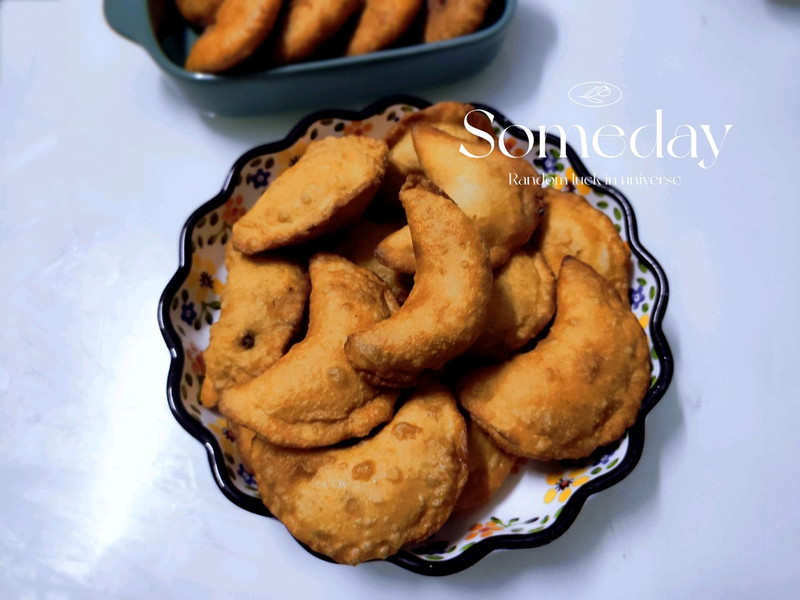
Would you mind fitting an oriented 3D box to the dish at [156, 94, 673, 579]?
[{"bbox_3d":[0.029,0.042,1.452,0.769,0.265,0.710,19,66,15],"label":"dish"}]
